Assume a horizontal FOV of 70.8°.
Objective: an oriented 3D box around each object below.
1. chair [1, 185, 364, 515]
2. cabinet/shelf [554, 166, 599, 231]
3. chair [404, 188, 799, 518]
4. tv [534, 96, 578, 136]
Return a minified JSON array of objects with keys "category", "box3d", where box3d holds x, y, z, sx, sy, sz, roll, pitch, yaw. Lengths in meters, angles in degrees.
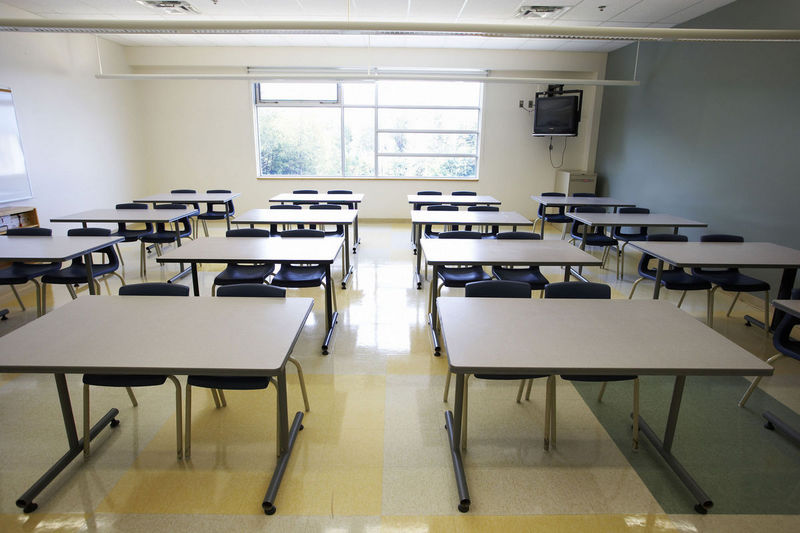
[{"category":"chair","box3d":[-2.169,0.941,6.003,2.646,1.990,2.680,-1,12,1]},{"category":"cabinet/shelf","box3d":[3.656,-1.598,11.998,0.883,1.137,0.799,0,13,3]},{"category":"chair","box3d":[1.712,1.019,5.754,2.648,1.951,2.098,-2,12,0]},{"category":"tv","box3d":[3.266,-3.164,11.796,1.031,0.909,0.567,6,15,27]}]
